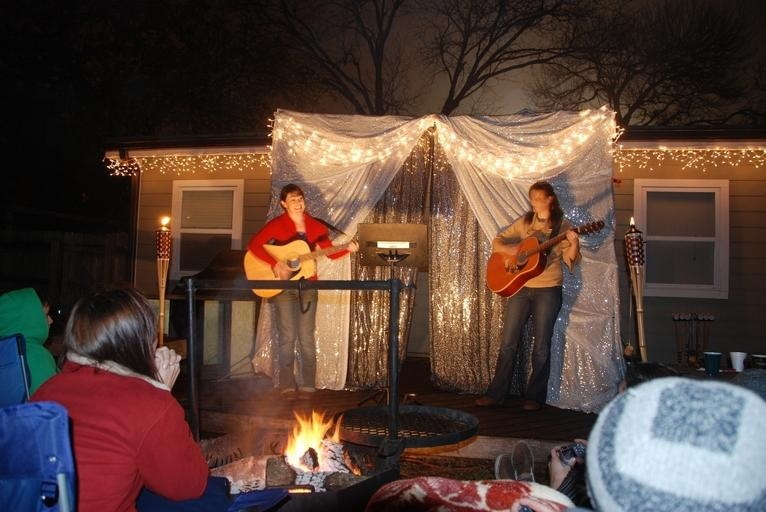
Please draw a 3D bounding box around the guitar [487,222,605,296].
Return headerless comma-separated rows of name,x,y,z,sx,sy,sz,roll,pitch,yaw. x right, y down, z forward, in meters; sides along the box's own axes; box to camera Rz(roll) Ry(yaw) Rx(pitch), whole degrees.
guitar,2.174,0.087,10.456,1.919,0.843,0.292,-28,-30,27
